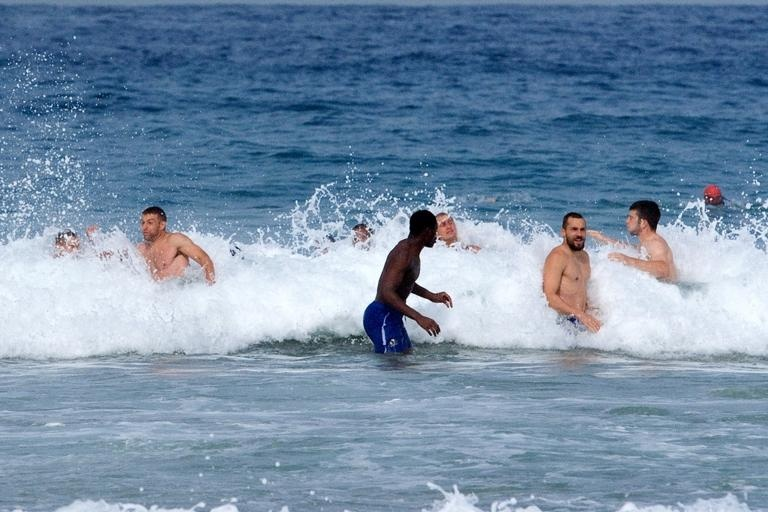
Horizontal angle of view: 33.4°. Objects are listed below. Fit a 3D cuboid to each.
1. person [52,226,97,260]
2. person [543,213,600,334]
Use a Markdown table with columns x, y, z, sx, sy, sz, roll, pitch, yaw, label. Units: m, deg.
| x | y | z | sx | sy | sz | roll | pitch | yaw | label |
| --- | --- | --- | --- | --- | --- | --- | --- | --- | --- |
| -6.072 | -0.297 | 25.070 | 0.793 | 0.495 | 0.855 | -4 | 10 | -13 | person |
| 3.466 | 0.312 | 23.675 | 1.052 | 2.193 | 0.812 | -3 | 11 | -3 | person |
